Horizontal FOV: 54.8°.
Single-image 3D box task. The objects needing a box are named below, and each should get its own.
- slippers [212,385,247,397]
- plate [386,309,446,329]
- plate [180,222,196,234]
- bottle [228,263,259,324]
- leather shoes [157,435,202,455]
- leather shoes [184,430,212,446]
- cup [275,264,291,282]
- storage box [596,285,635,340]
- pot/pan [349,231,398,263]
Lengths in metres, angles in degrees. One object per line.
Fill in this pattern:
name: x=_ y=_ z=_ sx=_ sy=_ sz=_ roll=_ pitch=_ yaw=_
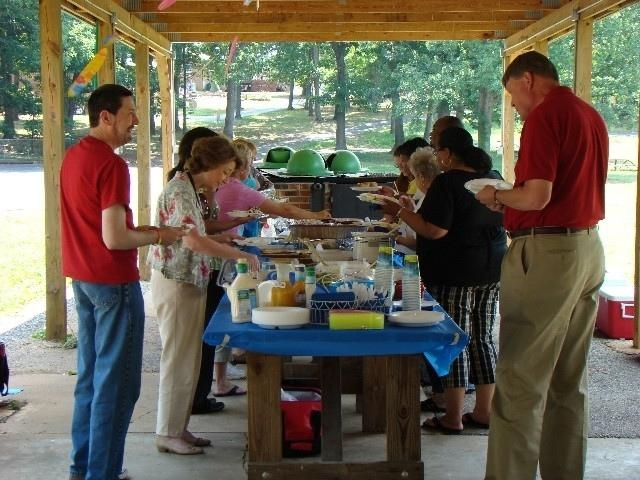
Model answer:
slippers: x=-0.707 y=1.183 z=4.889 sx=0.232 sy=0.054 sz=0.090 roll=-2 pitch=2 yaw=-15
plate: x=0.479 y=0.384 z=3.001 sx=0.283 sy=0.062 sz=0.119 roll=-2 pitch=9 yaw=-5
plate: x=-0.737 y=-0.065 z=3.454 sx=0.059 sy=0.023 sz=0.056 roll=1 pitch=43 yaw=-11
bottle: x=-0.388 y=0.251 z=3.074 sx=0.143 sy=0.294 sz=0.170 roll=-4 pitch=9 yaw=-7
leather shoes: x=-0.893 y=1.290 z=3.924 sx=0.323 sy=0.120 sz=0.105 roll=-1 pitch=1 yaw=-2
leather shoes: x=-0.791 y=1.289 z=4.014 sx=0.224 sy=0.079 sz=0.074 roll=4 pitch=-2 yaw=-10
cup: x=-0.181 y=0.175 z=3.212 sx=0.091 sy=0.087 sz=0.083 roll=1 pitch=-8 yaw=0
storage box: x=3.012 y=0.727 z=6.586 sx=0.486 sy=0.468 sz=0.762 roll=-1 pitch=3 yaw=8
pot/pan: x=0.352 y=0.046 z=4.201 sx=0.223 sy=0.158 sz=0.245 roll=0 pitch=0 yaw=31
